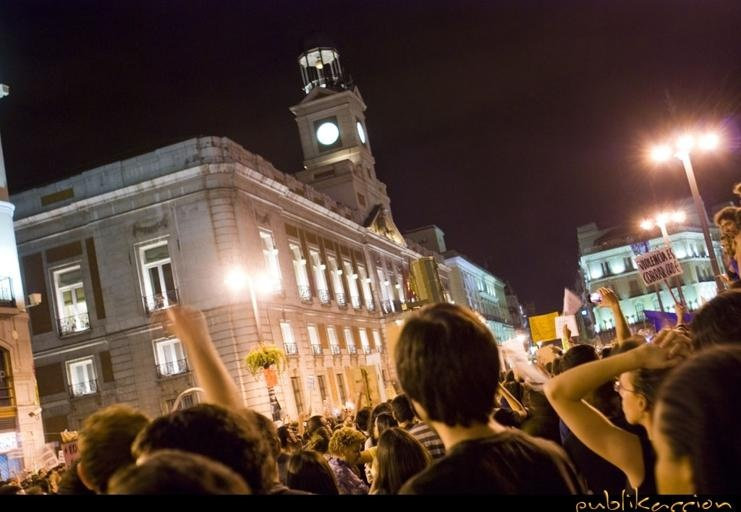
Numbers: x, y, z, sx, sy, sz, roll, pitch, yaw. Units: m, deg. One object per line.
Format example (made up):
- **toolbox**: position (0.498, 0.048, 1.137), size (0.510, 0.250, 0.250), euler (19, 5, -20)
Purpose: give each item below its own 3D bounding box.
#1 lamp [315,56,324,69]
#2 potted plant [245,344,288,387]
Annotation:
- **lamp**: position (-4.948, -18.560, 55.376), size (0.818, 1.069, 0.383), euler (10, 8, 18)
- **potted plant**: position (-4.616, 5.203, 26.865), size (1.830, 1.865, 1.813), euler (-21, -25, 22)
